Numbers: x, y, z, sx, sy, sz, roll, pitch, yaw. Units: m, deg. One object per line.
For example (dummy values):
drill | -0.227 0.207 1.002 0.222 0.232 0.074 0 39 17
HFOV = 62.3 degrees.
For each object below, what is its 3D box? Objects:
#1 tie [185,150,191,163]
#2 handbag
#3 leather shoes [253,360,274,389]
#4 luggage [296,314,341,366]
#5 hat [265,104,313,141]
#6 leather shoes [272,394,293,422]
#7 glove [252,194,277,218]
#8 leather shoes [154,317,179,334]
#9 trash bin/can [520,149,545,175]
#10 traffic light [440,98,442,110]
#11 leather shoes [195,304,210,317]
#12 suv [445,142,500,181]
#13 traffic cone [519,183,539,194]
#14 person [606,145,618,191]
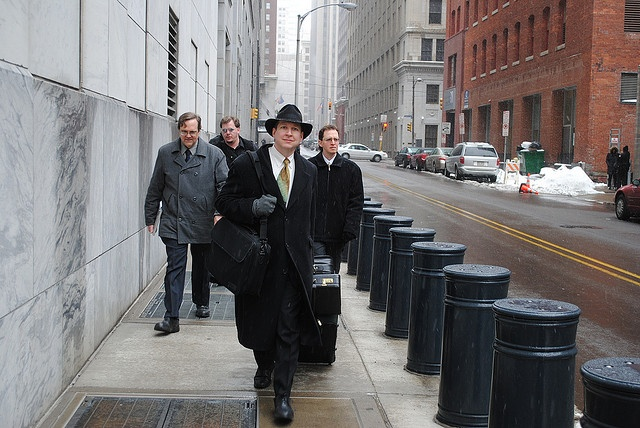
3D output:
tie | -1.701 -0.752 6.759 0.077 0.131 0.032 0 -7 4
handbag | -0.733 0.390 4.745 0.563 0.717 0.367 0 7 -8
leather shoes | -0.567 1.605 5.328 0.117 0.169 0.362 8 0 4
luggage | 0.024 1.278 5.723 0.514 0.542 0.886 5 -28 -2
hat | -0.275 -0.879 4.853 0.328 0.175 0.412 13 -23 2
leather shoes | -0.336 1.701 4.638 0.200 0.213 0.182 3 7 9
glove | -0.499 -0.085 4.681 0.199 0.164 0.096 -26 21 -9
leather shoes | -1.924 1.401 6.660 0.139 0.166 0.348 -1 -8 25
trash bin/can | 14.175 -3.624 35.553 1.719 2.113 1.432 3 14 7
traffic light | 13.150 -12.208 57.582 0.282 0.990 2.037 3 8 12
leather shoes | -1.649 1.349 7.359 0.108 0.148 0.320 2 -11 -10
suv | 9.926 -3.423 34.422 2.551 2.484 3.604 0 8 -8
traffic cone | 10.814 -1.308 27.544 0.709 0.439 0.622 4 1 18
person | 15.356 -2.421 27.831 0.565 2.252 1.457 5 8 29
